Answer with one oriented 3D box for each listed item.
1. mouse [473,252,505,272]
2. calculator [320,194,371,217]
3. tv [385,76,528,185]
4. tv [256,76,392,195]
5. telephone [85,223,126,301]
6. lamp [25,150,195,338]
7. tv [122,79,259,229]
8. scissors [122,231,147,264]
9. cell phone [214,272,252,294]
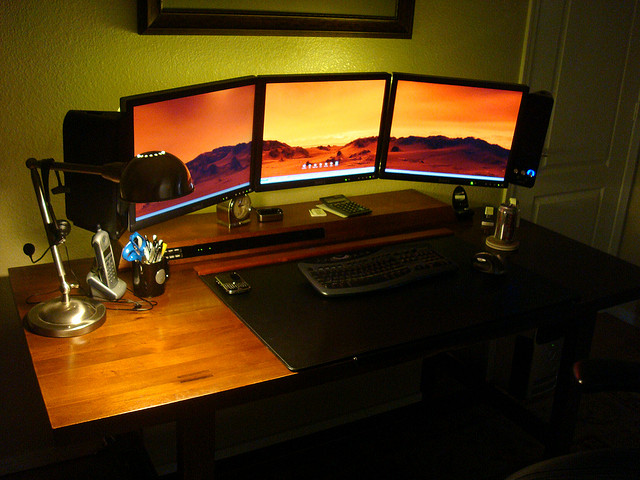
[{"bbox_3d":[0.642,0.081,1.969,0.108,0.057,0.040,7,25,16],"label":"mouse"},{"bbox_3d":[0.106,-0.152,2.288,0.138,0.033,0.219,-17,30,-33],"label":"calculator"},{"bbox_3d":[0.598,-0.497,2.321,0.507,0.377,0.052,2,27,-12],"label":"tv"},{"bbox_3d":[0.006,-0.457,2.170,0.487,0.364,0.035,-8,30,-28],"label":"tv"},{"bbox_3d":[-0.697,0.069,1.680,0.103,0.255,0.101,7,25,5],"label":"telephone"},{"bbox_3d":[-0.674,0.010,1.553,0.544,0.515,0.297,7,25,15],"label":"lamp"},{"bbox_3d":[-0.460,-0.317,1.807,0.049,0.396,0.492,20,32,32],"label":"tv"},{"bbox_3d":[-0.626,0.028,1.755,0.064,0.111,0.052,6,-12,-31],"label":"scissors"},{"bbox_3d":[-0.312,0.146,1.845,0.098,0.015,0.163,-14,28,-27],"label":"cell phone"}]
